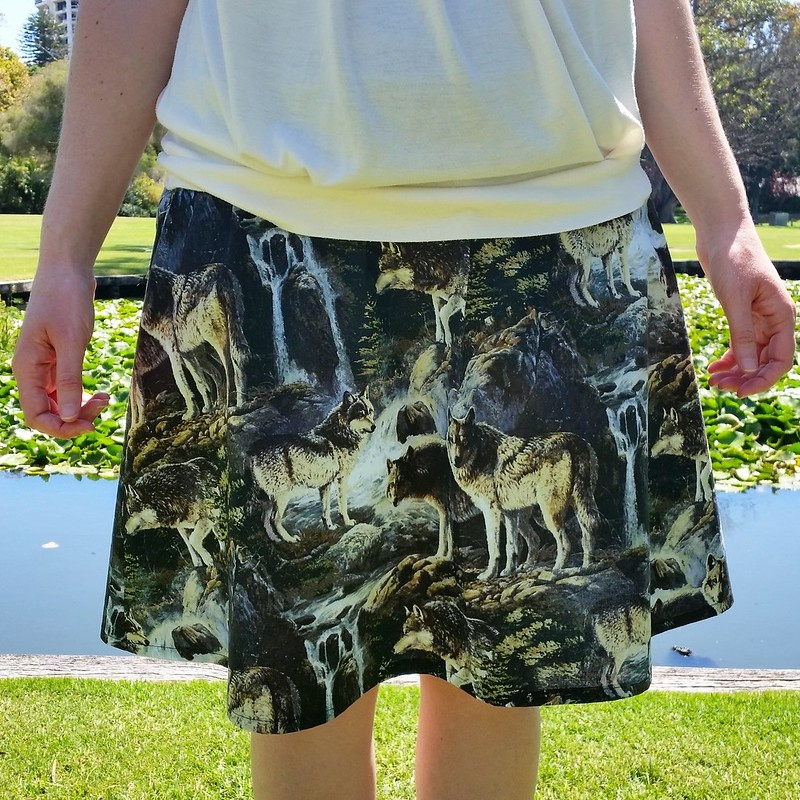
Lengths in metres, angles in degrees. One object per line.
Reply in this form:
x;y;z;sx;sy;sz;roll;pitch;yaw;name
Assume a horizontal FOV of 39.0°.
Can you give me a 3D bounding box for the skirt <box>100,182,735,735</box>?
0.031;0.077;1.716;1.197;0.775;0.659;0;1;1;skirt
